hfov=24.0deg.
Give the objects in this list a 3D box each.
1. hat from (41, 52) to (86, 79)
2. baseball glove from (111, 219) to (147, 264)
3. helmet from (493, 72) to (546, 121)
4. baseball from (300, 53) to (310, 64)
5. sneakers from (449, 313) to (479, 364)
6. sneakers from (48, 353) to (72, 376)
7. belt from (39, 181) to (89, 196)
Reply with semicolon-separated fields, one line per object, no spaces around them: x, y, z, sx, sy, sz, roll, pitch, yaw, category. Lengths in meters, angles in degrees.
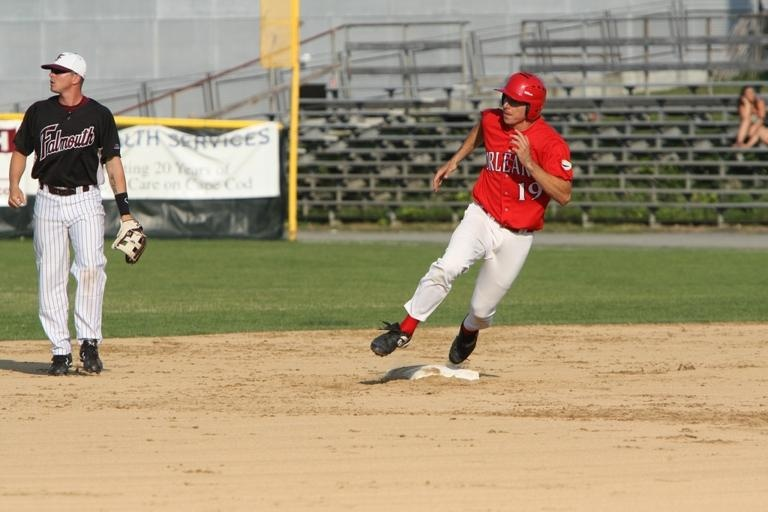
-3.395;-2.052;19.305;0.494;0.230;0.334;0;11;-26;hat
-2.820;-0.164;19.720;0.385;0.461;0.235;-16;16;-16;baseball glove
1.460;-1.701;19.092;0.570;0.437;0.456;-2;22;-17;helmet
-1.086;-2.680;24.552;0.130;0.101;0.094;9;9;30;baseball
0.816;0.935;19.575;0.221;0.570;0.235;24;19;-11;sneakers
-3.478;1.176;19.506;0.297;0.259;0.167;8;-1;-7;sneakers
-3.406;-0.693;19.232;0.528;0.115;0.105;0;6;-9;belt
